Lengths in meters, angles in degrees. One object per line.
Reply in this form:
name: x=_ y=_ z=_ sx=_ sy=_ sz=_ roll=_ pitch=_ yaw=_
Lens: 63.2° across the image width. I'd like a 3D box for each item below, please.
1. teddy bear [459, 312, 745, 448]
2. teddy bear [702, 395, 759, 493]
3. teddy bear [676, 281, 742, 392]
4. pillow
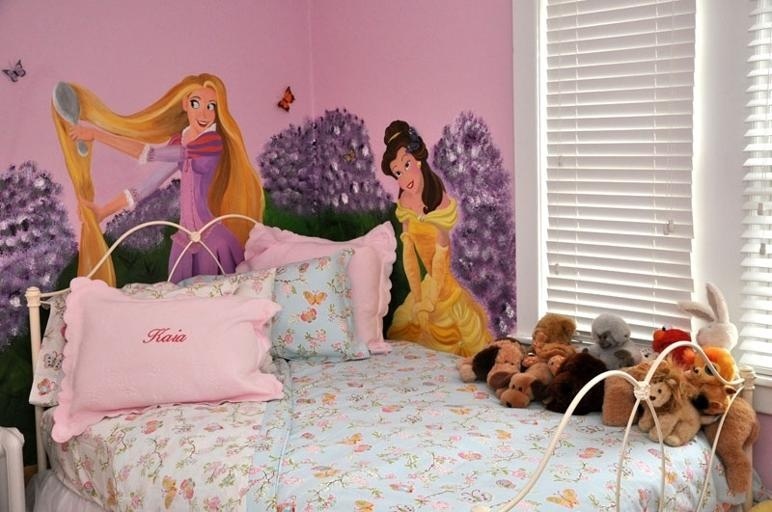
teddy bear: x=0.725 y=0.558 z=2.863 sx=0.698 sy=0.290 sz=0.526 roll=-11 pitch=8 yaw=7
teddy bear: x=1.383 y=0.753 z=2.552 sx=0.202 sy=0.374 sz=0.135 roll=8 pitch=-6 yaw=17
teddy bear: x=1.356 y=0.344 z=2.653 sx=0.274 sy=0.415 sz=0.192 roll=14 pitch=-24 yaw=31
pillow: x=-0.697 y=0.306 z=2.650 sx=1.150 sy=1.058 sz=0.316 roll=-5 pitch=-22 yaw=-20
